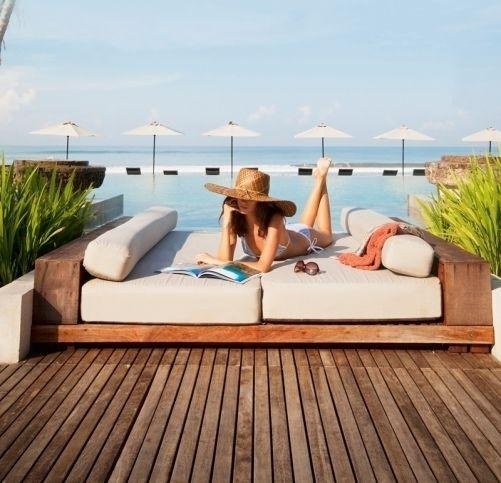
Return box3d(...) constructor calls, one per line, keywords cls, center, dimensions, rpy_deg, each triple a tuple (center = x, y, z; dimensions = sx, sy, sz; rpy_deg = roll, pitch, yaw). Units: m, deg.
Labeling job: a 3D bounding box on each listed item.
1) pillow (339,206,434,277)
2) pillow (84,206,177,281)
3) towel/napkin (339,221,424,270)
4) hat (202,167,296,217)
box3d(cls="pillow", center=(0.880, -0.045, 2.503), dimensions=(0.479, 0.389, 0.859), rpy_deg=(-1, 9, -10))
box3d(cls="pillow", center=(-0.756, 0.013, 2.500), dimensions=(0.464, 0.409, 0.590), rpy_deg=(3, 11, 0))
box3d(cls="towel/napkin", center=(0.792, 0.019, 2.547), dimensions=(0.417, 0.146, 0.316), rpy_deg=(-27, 11, 6))
box3d(cls="hat", center=(0.029, -0.336, 2.644), dimensions=(0.399, 0.347, 0.432), rpy_deg=(-5, 14, -45))
